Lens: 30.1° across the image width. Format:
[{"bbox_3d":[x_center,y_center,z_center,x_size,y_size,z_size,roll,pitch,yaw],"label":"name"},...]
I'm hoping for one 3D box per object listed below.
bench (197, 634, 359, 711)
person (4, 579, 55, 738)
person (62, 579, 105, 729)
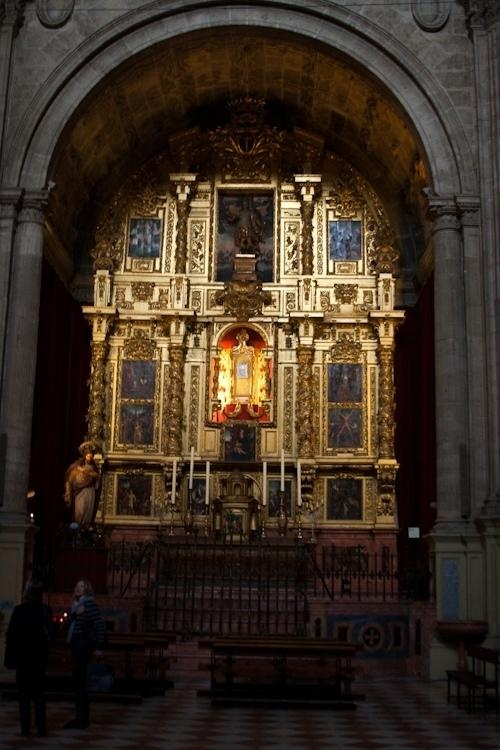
[{"bbox_3d":[0.317,3.040,9.745,1.538,0.615,2.329,1,-11,1],"label":"bench"},{"bbox_3d":[-1.711,2.180,7.170,0.357,1.145,0.422,4,-11,-12],"label":"person"},{"bbox_3d":[-1.347,2.252,7.543,0.286,1.158,0.330,4,-11,-10],"label":"person"}]
